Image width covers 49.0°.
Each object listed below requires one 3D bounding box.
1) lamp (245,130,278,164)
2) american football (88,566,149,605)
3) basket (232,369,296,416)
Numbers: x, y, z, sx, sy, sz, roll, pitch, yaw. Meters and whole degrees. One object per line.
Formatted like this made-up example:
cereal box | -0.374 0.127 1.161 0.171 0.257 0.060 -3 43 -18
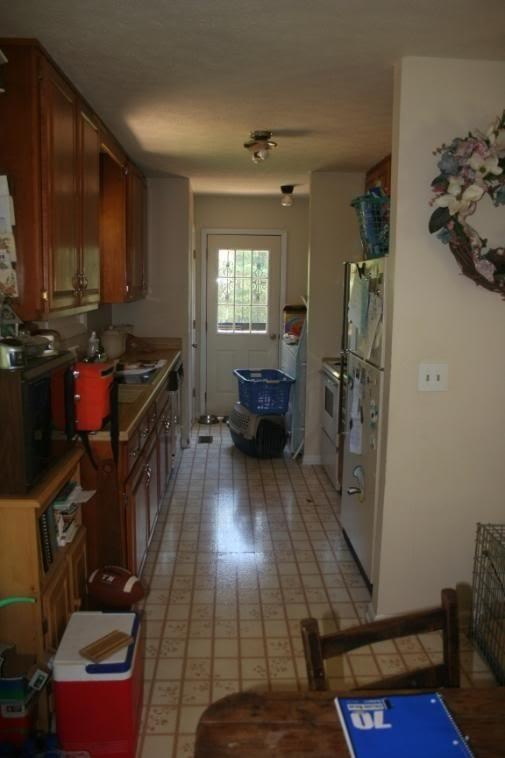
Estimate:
lamp | 0.046 -1.405 3.380 0.135 0.081 0.179 2 6 -4
american football | -0.521 0.813 2.156 0.184 0.132 0.130 10 -1 5
basket | 0.100 0.117 4.866 0.346 0.256 0.502 0 11 -10
